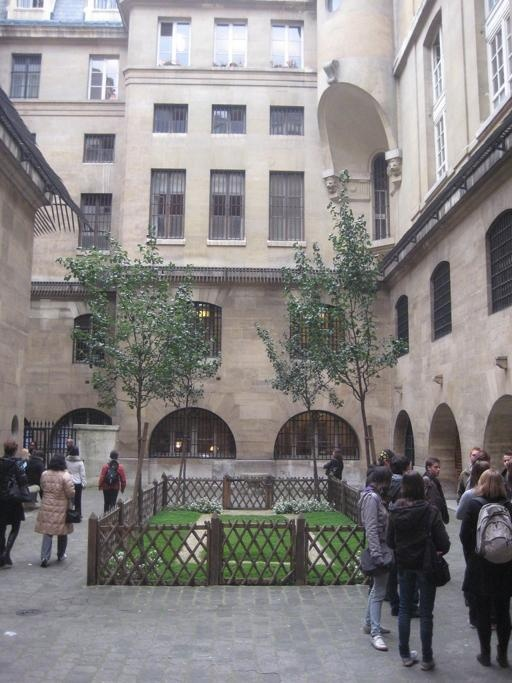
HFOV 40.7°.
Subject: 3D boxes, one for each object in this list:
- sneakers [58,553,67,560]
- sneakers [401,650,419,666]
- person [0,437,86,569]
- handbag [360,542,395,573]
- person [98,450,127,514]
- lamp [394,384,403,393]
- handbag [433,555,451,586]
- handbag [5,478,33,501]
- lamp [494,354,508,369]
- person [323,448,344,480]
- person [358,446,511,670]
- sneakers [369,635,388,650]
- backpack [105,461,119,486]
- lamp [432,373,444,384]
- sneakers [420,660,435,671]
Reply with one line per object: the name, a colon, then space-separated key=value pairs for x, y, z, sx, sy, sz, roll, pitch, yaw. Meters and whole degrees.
sneakers: x=-3.142 y=3.527 z=11.306 sx=0.050 sy=0.062 sz=0.138 roll=2 pitch=2 yaw=10
sneakers: x=1.393 y=2.877 z=6.299 sx=0.067 sy=0.090 sz=0.196 roll=-1 pitch=-2 yaw=25
person: x=-3.425 y=2.552 z=10.996 sx=1.267 sy=1.952 sz=1.143 roll=3 pitch=-12 yaw=-15
handbag: x=1.148 y=2.189 z=6.890 sx=0.216 sy=0.110 sz=0.277 roll=-2 pitch=19 yaw=1
person: x=-3.216 y=3.191 z=15.560 sx=0.528 sy=1.638 sz=0.370 roll=4 pitch=17 yaw=-12
lamp: x=4.981 y=1.606 z=24.162 sx=0.190 sy=0.307 sz=0.291 roll=0 pitch=-4 yaw=0
handbag: x=1.685 y=2.078 z=6.309 sx=0.117 sy=0.291 sz=0.639 roll=-4 pitch=-12 yaw=16
handbag: x=-3.637 y=2.288 z=10.684 sx=0.378 sy=0.379 sz=0.425 roll=2 pitch=-12 yaw=-12
lamp: x=5.025 y=0.404 z=14.235 sx=0.207 sy=0.282 sz=0.247 roll=4 pitch=-5 yaw=16
person: x=2.175 y=3.453 z=19.437 sx=0.508 sy=0.821 sz=1.929 roll=-2 pitch=-12 yaw=5
person: x=1.418 y=2.112 z=6.619 sx=0.642 sy=1.761 sz=1.258 roll=1 pitch=-11 yaw=-6
sneakers: x=1.206 y=2.951 z=6.776 sx=0.063 sy=0.074 sz=0.178 roll=3 pitch=-2 yaw=-6
backpack: x=-3.160 y=2.935 z=15.383 sx=0.294 sy=0.459 sz=0.435 roll=3 pitch=-14 yaw=-8
lamp: x=4.989 y=1.015 z=18.926 sx=0.180 sy=0.204 sz=0.222 roll=-1 pitch=-12 yaw=32
sneakers: x=1.523 y=2.868 z=6.131 sx=0.135 sy=0.083 sz=0.113 roll=0 pitch=-11 yaw=-2
